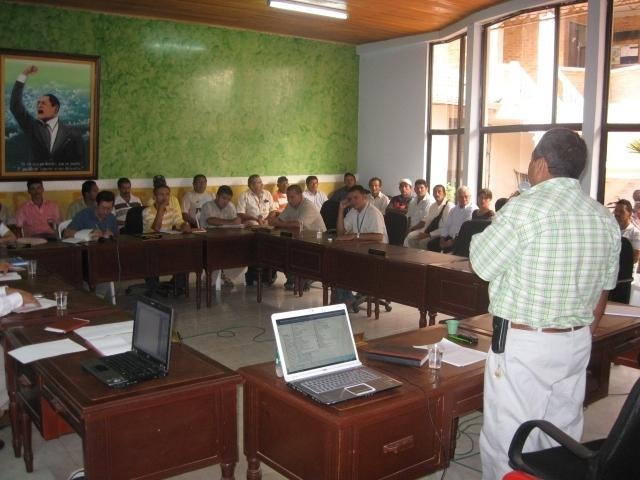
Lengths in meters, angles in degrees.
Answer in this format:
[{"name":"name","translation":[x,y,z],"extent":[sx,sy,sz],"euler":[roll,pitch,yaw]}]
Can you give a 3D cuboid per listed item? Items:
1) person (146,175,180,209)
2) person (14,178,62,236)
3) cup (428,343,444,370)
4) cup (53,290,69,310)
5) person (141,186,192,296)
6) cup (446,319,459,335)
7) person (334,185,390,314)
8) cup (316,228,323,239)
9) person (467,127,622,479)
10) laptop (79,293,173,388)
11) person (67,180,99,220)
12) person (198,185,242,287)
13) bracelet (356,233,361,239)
[{"name":"person","translation":[-2.461,-0.820,8.202],"extent":[0.548,0.756,0.236],"euler":[-5,6,-1]},{"name":"person","translation":[-3.978,-0.424,7.435],"extent":[0.658,0.868,0.688],"euler":[7,12,24]},{"name":"cup","translation":[0.609,0.614,2.767],"extent":[0.116,0.139,0.104],"euler":[-1,3,-3]},{"name":"cup","translation":[-1.828,0.426,3.675],"extent":[0.117,0.133,0.088],"euler":[-2,-4,-7]},{"name":"person","translation":[-2.217,-0.021,7.423],"extent":[0.725,1.438,0.619],"euler":[16,19,36]},{"name":"cup","translation":[0.839,0.549,3.289],"extent":[0.098,0.111,0.081],"euler":[0,-2,-15]},{"name":"person","translation":[0.483,0.081,6.683],"extent":[0.705,1.588,0.797],"euler":[7,11,40]},{"name":"cup","translation":[-0.008,-0.077,6.723],"extent":[0.102,0.192,0.103],"euler":[-1,3,0]},{"name":"person","translation":[1.060,0.341,2.496],"extent":[0.678,1.720,0.359],"euler":[-6,12,-30]},{"name":"laptop","translation":[-0.994,0.499,2.668],"extent":[0.333,0.342,0.433],"euler":[-3,7,-39]},{"name":"person","translation":[-3.196,-0.432,7.195],"extent":[0.405,0.760,0.429],"euler":[0,8,-7]},{"name":"person","translation":[-1.444,-0.049,7.873],"extent":[0.856,1.537,0.672],"euler":[2,6,36]},{"name":"bracelet","translation":[0.471,-0.054,6.366],"extent":[0.034,0.049,0.046],"euler":[-3,-13,6]}]
